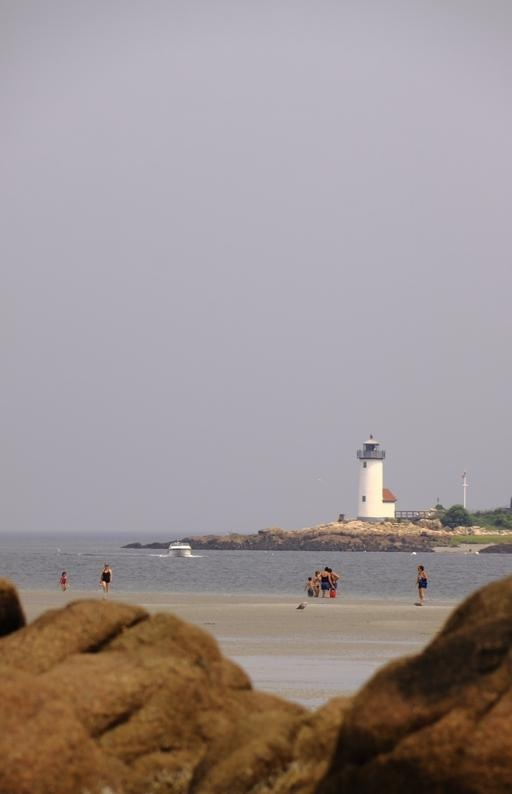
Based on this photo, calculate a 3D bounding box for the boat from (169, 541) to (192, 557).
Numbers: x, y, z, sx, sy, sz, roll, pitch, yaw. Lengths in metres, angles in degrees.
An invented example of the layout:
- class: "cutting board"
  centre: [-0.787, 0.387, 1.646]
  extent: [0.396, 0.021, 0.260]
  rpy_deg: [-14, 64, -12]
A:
- class: "boat"
  centre: [-5.961, 11.833, 106.805]
  extent: [1.523, 0.843, 2.112]
  rpy_deg: [0, -9, -1]
